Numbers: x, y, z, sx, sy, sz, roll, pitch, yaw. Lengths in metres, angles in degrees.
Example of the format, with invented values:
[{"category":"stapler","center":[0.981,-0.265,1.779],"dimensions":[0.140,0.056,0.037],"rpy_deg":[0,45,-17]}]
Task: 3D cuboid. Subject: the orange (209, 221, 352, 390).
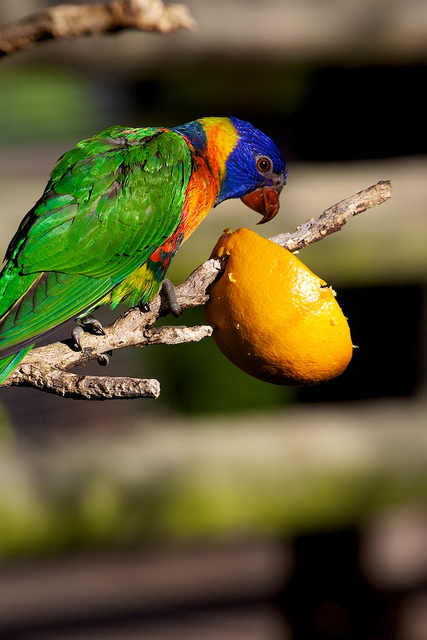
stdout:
[{"category":"orange","center":[0.210,-0.029,1.434],"dimensions":[0.214,0.310,0.333],"rpy_deg":[-7,10,-26]}]
